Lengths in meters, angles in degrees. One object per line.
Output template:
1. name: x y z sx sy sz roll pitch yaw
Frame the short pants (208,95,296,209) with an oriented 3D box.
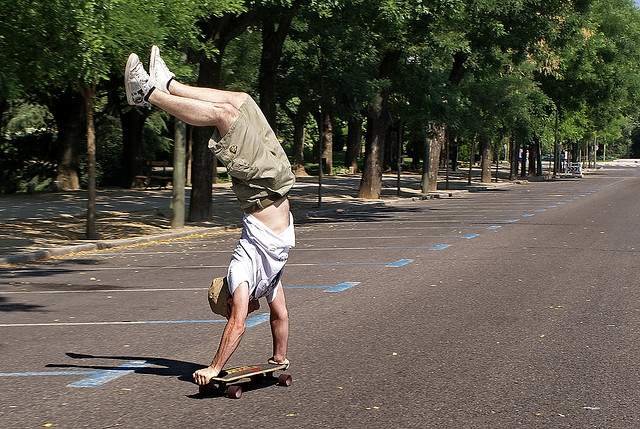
1. short pants: -0.611 -0.566 6.193 0.819 1.031 0.335 2 2 -18

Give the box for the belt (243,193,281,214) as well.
1. belt: -0.523 -0.102 6.211 0.228 0.051 0.197 -24 4 -7

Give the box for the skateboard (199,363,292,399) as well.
1. skateboard: -0.704 1.495 6.197 0.603 0.122 0.338 -9 11 -41

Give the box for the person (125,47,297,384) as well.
1. person: -0.904 0.000 6.157 1.401 3.012 0.589 3 2 -6
